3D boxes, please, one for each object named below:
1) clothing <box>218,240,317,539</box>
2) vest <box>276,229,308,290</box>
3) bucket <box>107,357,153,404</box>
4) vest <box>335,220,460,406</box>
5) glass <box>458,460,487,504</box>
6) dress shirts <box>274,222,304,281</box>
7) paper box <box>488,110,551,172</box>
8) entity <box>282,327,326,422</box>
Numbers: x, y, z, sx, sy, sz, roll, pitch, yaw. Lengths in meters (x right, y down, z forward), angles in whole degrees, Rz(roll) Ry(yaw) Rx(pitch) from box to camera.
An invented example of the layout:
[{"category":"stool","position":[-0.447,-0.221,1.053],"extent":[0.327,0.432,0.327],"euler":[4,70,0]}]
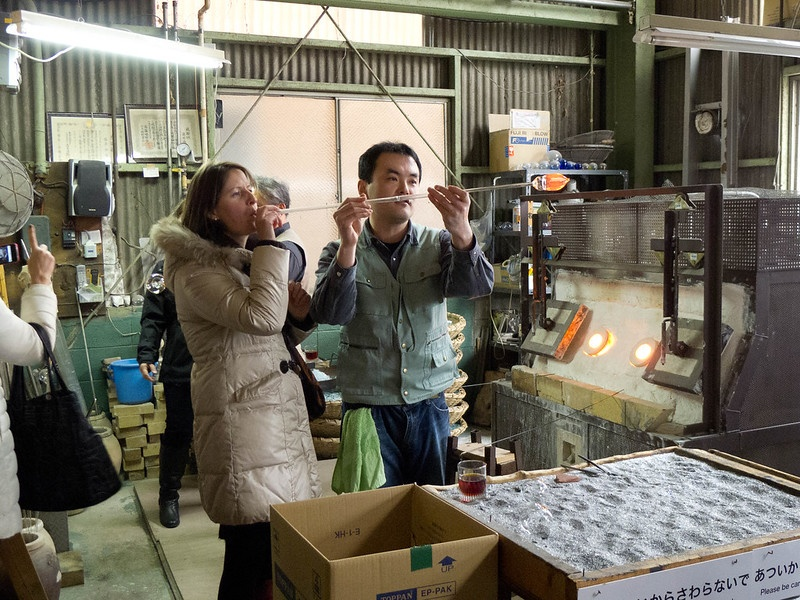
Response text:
[{"category":"clothing","position":[-0.574,0.311,2.413],"extent":[0.540,1.053,0.302],"euler":[1,7,-6]},{"category":"vest","position":[-0.436,-0.154,2.595],"extent":[0.129,0.273,0.193],"euler":[6,21,7]},{"category":"bucket","position":[-2.018,0.628,4.893],"extent":[0.315,0.331,0.327],"euler":[-3,-1,0]},{"category":"vest","position":[-0.011,0.060,2.774],"extent":[0.451,0.776,0.368],"euler":[-3,-5,-6]},{"category":"glass","position":[0.243,0.602,2.128],"extent":[0.097,0.121,0.098],"euler":[-5,-3,44]},{"category":"dress shirts","position":[-0.442,-0.203,2.694],"extent":[0.078,0.224,0.149],"euler":[-10,4,-32]},{"category":"paper box","position":[1.234,-1.637,6.858],"extent":[0.611,0.757,0.650],"euler":[-3,7,-20]},{"category":"entity","position":[-0.372,0.312,2.623],"extent":[0.099,0.342,0.220],"euler":[-12,8,-29]}]
